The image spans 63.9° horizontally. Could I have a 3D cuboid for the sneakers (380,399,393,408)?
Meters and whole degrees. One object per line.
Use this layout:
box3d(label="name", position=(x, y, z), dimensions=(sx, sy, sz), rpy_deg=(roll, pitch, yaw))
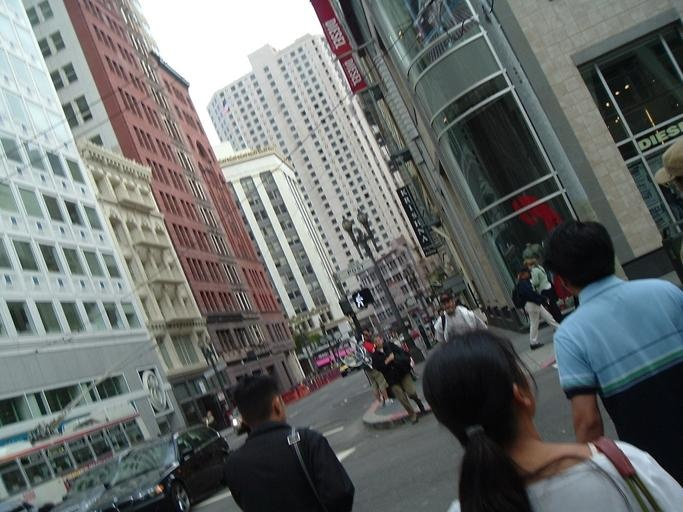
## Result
box3d(label="sneakers", position=(1.416, 4.353, 16.384), dimensions=(0.426, 0.227, 0.148), rpy_deg=(-10, 4, -36))

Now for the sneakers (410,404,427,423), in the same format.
box3d(label="sneakers", position=(1.807, 3.674, 12.748), dimensions=(0.166, 0.296, 0.568), rpy_deg=(0, -1, 18))

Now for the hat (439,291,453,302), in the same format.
box3d(label="hat", position=(1.719, 0.676, 9.029), dimensions=(0.179, 0.150, 0.453), rpy_deg=(-26, -11, 5))

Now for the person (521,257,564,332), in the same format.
box3d(label="person", position=(4.630, 0.814, 13.016), dimensions=(0.540, 2.156, 0.530), rpy_deg=(-33, 33, -34))
